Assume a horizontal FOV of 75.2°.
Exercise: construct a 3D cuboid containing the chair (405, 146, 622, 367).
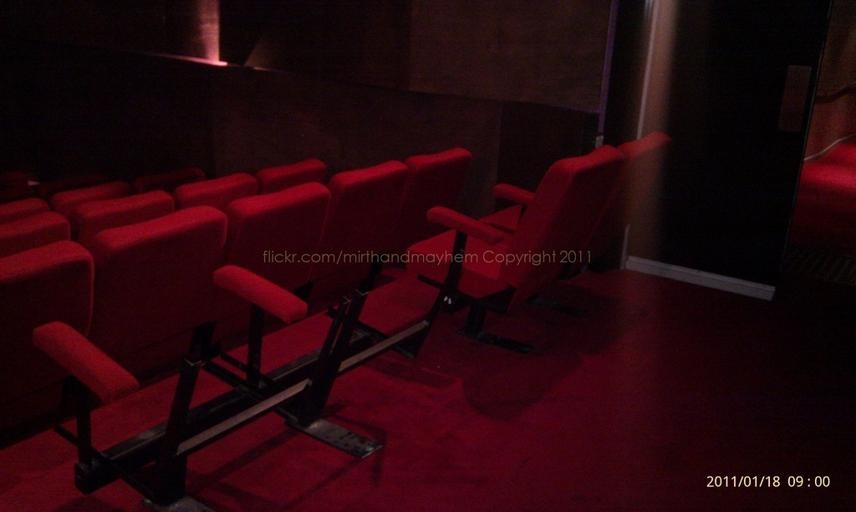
[{"bbox_3d":[0.661,-0.188,3.474,1.343,1.351,1.093,20,33,36],"label":"chair"}]
